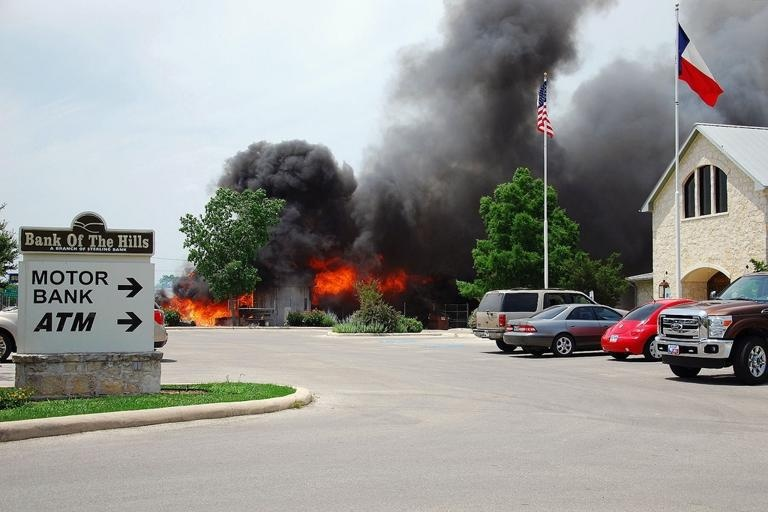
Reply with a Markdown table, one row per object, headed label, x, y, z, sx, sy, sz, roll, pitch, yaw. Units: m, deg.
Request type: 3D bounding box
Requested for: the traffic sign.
| label | x | y | z | sx | sy | sz | roll | pitch | yaw |
| --- | --- | --- | --- | --- | --- | --- | --- | --- | --- |
| traffic sign | -6.458 | 1.031 | 15.449 | 1.982 | 1.579 | 0.292 | 0 | -6 | -11 |
